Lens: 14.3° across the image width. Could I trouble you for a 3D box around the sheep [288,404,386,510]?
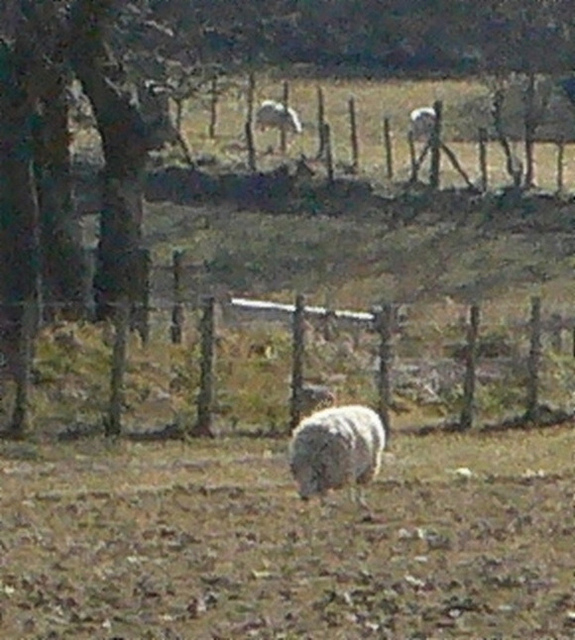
[{"bbox_3d":[0.344,0.903,15.225,0.395,0.660,0.739,9,16,42],"label":"sheep"}]
